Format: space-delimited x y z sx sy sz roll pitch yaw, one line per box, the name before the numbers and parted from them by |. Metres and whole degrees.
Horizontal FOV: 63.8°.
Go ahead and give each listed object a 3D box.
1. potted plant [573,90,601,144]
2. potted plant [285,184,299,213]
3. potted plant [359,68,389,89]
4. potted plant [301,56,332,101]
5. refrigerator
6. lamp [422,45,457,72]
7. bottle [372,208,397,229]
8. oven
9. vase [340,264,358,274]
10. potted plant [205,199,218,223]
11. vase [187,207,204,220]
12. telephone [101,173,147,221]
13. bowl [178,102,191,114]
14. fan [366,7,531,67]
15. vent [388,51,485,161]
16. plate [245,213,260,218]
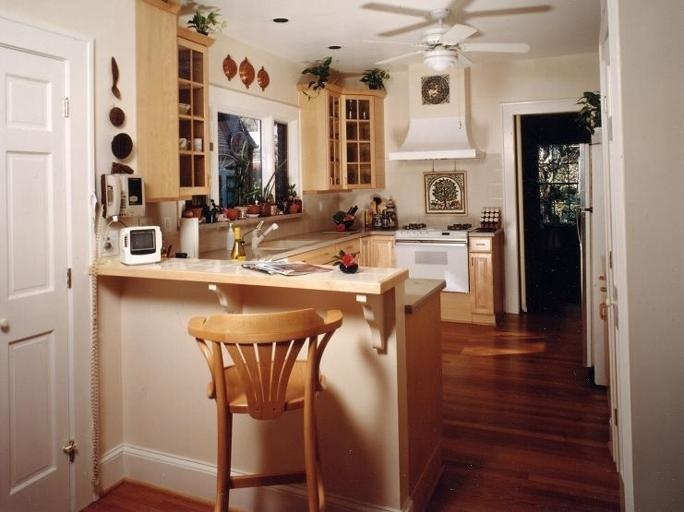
potted plant | 1.984 -1.141 4.360 0.161 0.375 0.854 2 12 23
potted plant | -0.546 -0.642 5.978 0.161 0.302 0.288 -3 10 -4
potted plant | 0.374 -2.131 6.568 0.264 0.195 0.271 -2 6 -20
potted plant | -0.277 -1.918 5.881 0.373 0.186 0.356 -2 -1 44
refrigerator | 1.936 0.031 4.202 0.202 1.904 0.631 1 10 15
lamp | 0.786 -1.591 4.429 0.198 0.134 0.204 0 5 2
bottle | 0.540 -0.481 6.853 0.308 0.310 0.193 2 3 12
oven | 1.069 -0.015 6.276 0.817 0.558 0.577 3 19 21
vase | 0.034 0.047 2.677 0.097 0.049 0.103 -2 11 0
potted plant | -1.151 -0.401 4.795 0.110 0.186 0.184 -1 2 -12
vase | -1.194 -0.363 4.436 0.117 0.089 0.119 -4 7 -27
telephone | -1.269 -0.361 3.151 0.102 0.249 0.253 4 8 29
bowl | -1.084 -1.024 3.743 0.073 0.057 0.069 -3 5 0
fan | 0.906 -1.939 4.740 0.653 0.269 0.648 -5 4 -43
vent | 1.182 -1.702 6.407 1.047 1.011 0.775 5 15 36
plate | -0.864 -0.397 5.266 0.123 0.040 0.057 -8 12 -29
